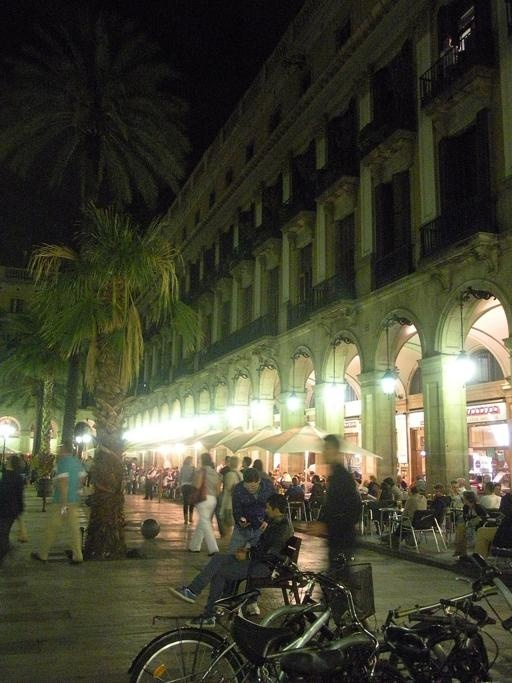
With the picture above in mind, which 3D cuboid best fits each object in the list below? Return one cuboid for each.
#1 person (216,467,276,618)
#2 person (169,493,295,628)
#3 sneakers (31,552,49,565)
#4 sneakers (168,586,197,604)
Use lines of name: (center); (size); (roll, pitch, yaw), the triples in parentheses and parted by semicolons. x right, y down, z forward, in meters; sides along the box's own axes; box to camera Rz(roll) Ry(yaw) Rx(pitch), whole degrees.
person: (-0.056, 2.386, 7.116); (0.506, 1.734, 0.527); (12, 10, 37)
person: (-0.154, 1.802, 4.781); (0.830, 1.297, 0.514); (18, -36, -7)
sneakers: (-3.671, 3.652, 9.766); (0.173, 0.241, 0.498); (6, -1, -32)
sneakers: (-0.627, 2.138, 4.880); (0.121, 0.133, 0.280); (-26, 8, -33)
